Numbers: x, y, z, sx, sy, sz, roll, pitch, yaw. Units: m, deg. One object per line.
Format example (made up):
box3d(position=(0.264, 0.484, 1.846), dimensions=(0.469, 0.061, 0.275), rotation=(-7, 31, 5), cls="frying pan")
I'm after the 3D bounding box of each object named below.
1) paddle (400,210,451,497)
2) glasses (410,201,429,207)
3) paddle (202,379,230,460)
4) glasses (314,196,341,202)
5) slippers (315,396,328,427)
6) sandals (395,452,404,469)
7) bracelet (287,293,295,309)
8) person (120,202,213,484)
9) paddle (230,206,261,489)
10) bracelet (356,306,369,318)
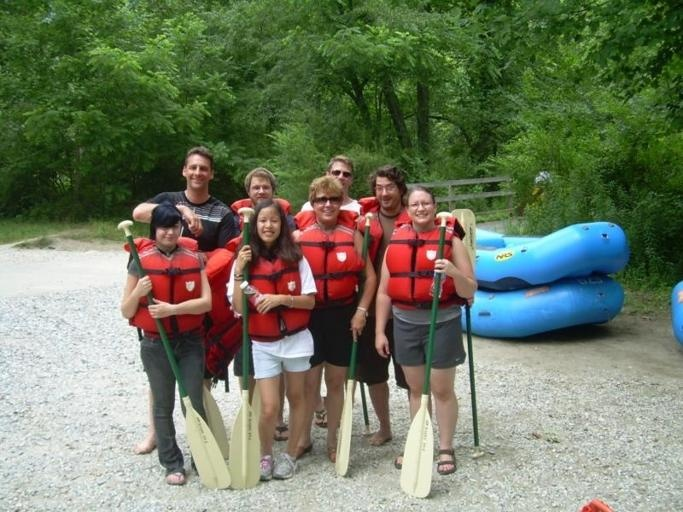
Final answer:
box3d(position=(0.750, 0.933, 5.828), dimensions=(0.374, 2.475, 0.736), rotation=(1, 13, 9), cls="paddle")
box3d(position=(0.746, -0.490, 5.996), dimensions=(0.164, 0.051, 0.046), rotation=(0, 12, 5), cls="glasses")
box3d(position=(-1.244, 1.636, 6.215), dimensions=(0.195, 0.896, 0.117), rotation=(-19, 19, -26), cls="paddle")
box3d(position=(-0.142, -0.540, 6.037), dimensions=(0.271, 0.078, 0.061), rotation=(-1, 12, -2), cls="glasses")
box3d(position=(-0.232, 1.737, 6.944), dimensions=(0.130, 0.379, 0.102), rotation=(-3, -9, 3), cls="slippers")
box3d(position=(0.574, 1.998, 6.161), dimensions=(0.045, 0.130, 0.098), rotation=(40, -24, -31), cls="sandals")
box3d(position=(-0.478, 0.423, 5.866), dimensions=(0.102, 0.135, 0.056), rotation=(-3, -4, -4), cls="bracelet")
box3d(position=(-1.610, 0.816, 5.877), dimensions=(0.815, 2.582, 0.595), rotation=(-4, 13, -12), cls="person")
box3d(position=(-0.938, 0.846, 5.902), dimensions=(0.322, 2.556, 0.658), rotation=(-2, 12, -7), cls="paddle")
box3d(position=(0.196, 0.532, 6.140), dimensions=(0.104, 0.098, 0.111), rotation=(-2, 12, -6), cls="bracelet")
